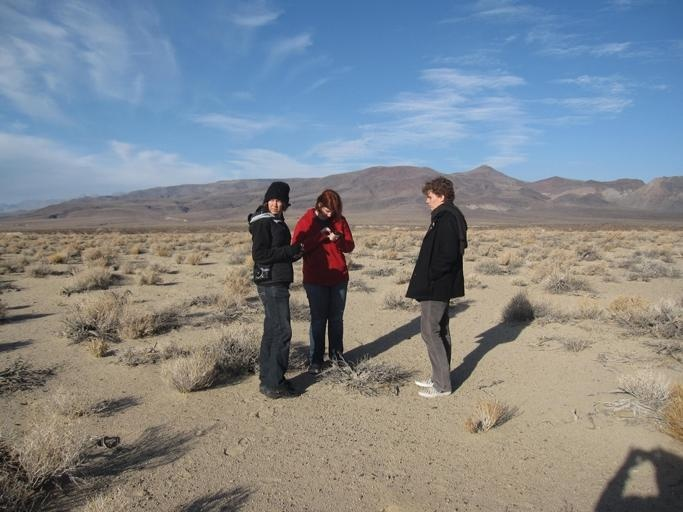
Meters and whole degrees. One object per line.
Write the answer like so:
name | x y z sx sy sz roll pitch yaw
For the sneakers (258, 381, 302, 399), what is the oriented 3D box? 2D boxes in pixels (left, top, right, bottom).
sneakers | -0.850 1.892 6.068 0.563 0.264 0.245 0 2 -12

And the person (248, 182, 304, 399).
person | -0.906 0.484 5.993 0.651 3.040 0.612 -4 9 -12

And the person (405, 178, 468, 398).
person | 1.386 0.438 6.172 0.756 3.171 0.915 1 10 16

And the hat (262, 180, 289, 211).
hat | -0.882 -0.867 5.925 0.361 0.389 0.404 18 -4 -6
